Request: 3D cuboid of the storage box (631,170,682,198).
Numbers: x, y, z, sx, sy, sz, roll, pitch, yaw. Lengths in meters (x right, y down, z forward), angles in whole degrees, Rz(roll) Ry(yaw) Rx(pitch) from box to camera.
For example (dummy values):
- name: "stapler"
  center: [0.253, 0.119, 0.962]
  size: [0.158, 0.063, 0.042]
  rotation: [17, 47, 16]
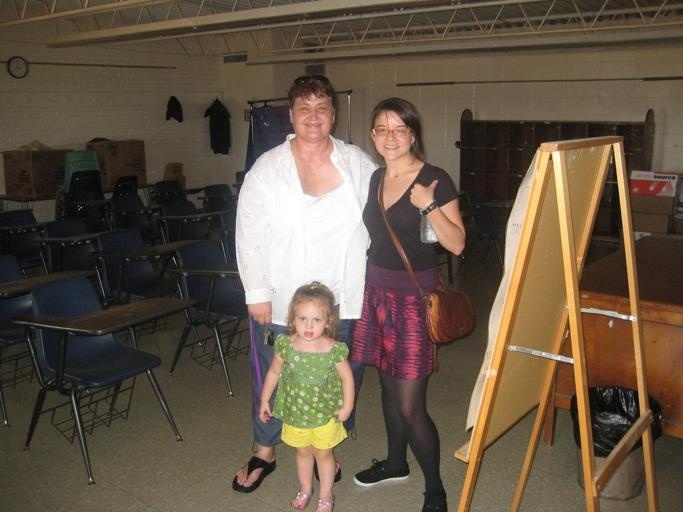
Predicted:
- name: "storage box"
  center: [4.475, -1.037, 7.537]
  size: [0.658, 0.447, 0.395]
  rotation: [14, 12, 30]

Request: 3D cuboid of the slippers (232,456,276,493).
- name: "slippers"
  center: [-0.507, 1.231, 3.042]
  size: [0.116, 0.109, 0.253]
  rotation: [13, 26, 32]

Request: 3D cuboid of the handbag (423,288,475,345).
- name: "handbag"
  center: [0.507, 0.294, 2.513]
  size: [0.266, 0.281, 0.175]
  rotation: [-12, 18, -35]

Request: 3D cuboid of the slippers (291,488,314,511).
- name: "slippers"
  center: [-0.220, 1.314, 2.865]
  size: [0.068, 0.060, 0.133]
  rotation: [2, 5, 16]

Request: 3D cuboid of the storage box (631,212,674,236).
- name: "storage box"
  center: [4.313, -0.454, 7.240]
  size: [0.428, 0.290, 0.237]
  rotation: [8, 17, 32]

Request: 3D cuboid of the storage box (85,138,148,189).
- name: "storage box"
  center: [-3.982, -1.618, 9.178]
  size: [0.477, 0.895, 0.939]
  rotation: [8, 17, 32]

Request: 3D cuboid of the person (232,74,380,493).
- name: "person"
  center: [-0.153, 0.200, 2.750]
  size: [0.884, 2.201, 0.681]
  rotation: [-2, 9, -16]

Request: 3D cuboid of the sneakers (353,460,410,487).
- name: "sneakers"
  center: [0.216, 1.241, 3.039]
  size: [0.334, 0.128, 0.129]
  rotation: [-1, 20, -3]

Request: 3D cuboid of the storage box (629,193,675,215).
- name: "storage box"
  center: [4.283, -0.713, 7.199]
  size: [0.600, 0.313, 0.430]
  rotation: [8, 10, 34]

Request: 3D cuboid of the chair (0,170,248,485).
- name: "chair"
  center: [-1.547, 0.649, 3.483]
  size: [1.104, 1.025, 1.250]
  rotation: [-12, 18, -35]

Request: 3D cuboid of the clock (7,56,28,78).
- name: "clock"
  center: [-5.303, -3.109, 8.639]
  size: [0.073, 0.317, 0.312]
  rotation: [4, 8, 30]

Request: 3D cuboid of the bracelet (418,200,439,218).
- name: "bracelet"
  center: [0.385, -0.212, 2.337]
  size: [0.070, 0.027, 0.068]
  rotation: [-52, 18, -22]

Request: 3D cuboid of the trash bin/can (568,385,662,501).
- name: "trash bin/can"
  center: [1.432, 1.020, 3.082]
  size: [0.521, 0.603, 0.612]
  rotation: [-2, 16, 12]

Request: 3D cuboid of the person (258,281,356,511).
- name: "person"
  center: [-0.193, 0.743, 2.685]
  size: [0.491, 1.250, 0.227]
  rotation: [7, 16, 29]

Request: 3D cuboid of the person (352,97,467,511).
- name: "person"
  center: [0.309, 0.297, 2.639]
  size: [0.569, 2.092, 0.339]
  rotation: [7, 16, 28]

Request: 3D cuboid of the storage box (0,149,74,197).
- name: "storage box"
  center: [-4.866, -1.325, 8.358]
  size: [0.389, 0.563, 0.754]
  rotation: [6, 16, 22]

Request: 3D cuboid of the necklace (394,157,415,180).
- name: "necklace"
  center: [0.298, -0.419, 2.520]
  size: [0.093, 0.073, 0.076]
  rotation: [-1, 24, 5]
